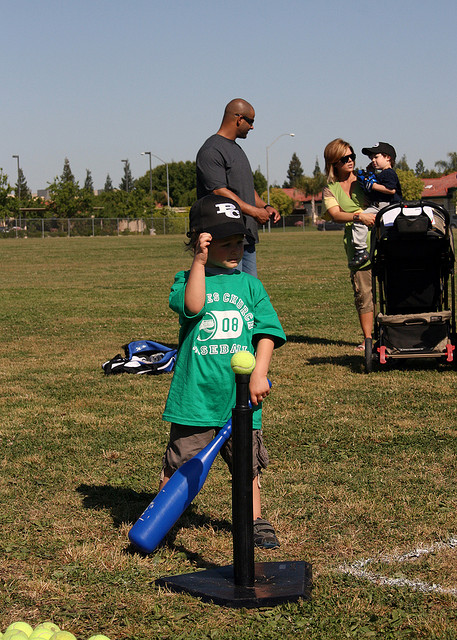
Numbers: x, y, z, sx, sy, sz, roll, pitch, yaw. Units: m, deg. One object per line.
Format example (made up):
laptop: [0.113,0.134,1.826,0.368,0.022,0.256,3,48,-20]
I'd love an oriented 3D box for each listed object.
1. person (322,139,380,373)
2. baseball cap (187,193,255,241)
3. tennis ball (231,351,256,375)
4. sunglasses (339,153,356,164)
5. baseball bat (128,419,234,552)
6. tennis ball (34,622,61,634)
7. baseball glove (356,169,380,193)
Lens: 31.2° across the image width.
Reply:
person: [1.078,-0.606,7.364,0.500,1.999,1.265,0,5,8]
baseball cap: [-0.022,-0.425,3.359,0.244,0.183,0.348,-5,12,-32]
tennis ball: [0.050,0.144,2.831,0.081,0.074,0.077,2,10,0]
sunglasses: [1.068,-1.450,7.337,0.164,0.091,0.084,-2,5,-20]
baseball bat: [-0.197,0.741,3.587,0.110,0.728,0.111,26,-24,36]
tennis ball: [-0.564,0.934,2.524,0.052,0.046,0.050,5,-20,2]
baseball glove: [1.266,-1.290,7.609,0.237,0.206,0.176,2,5,27]
